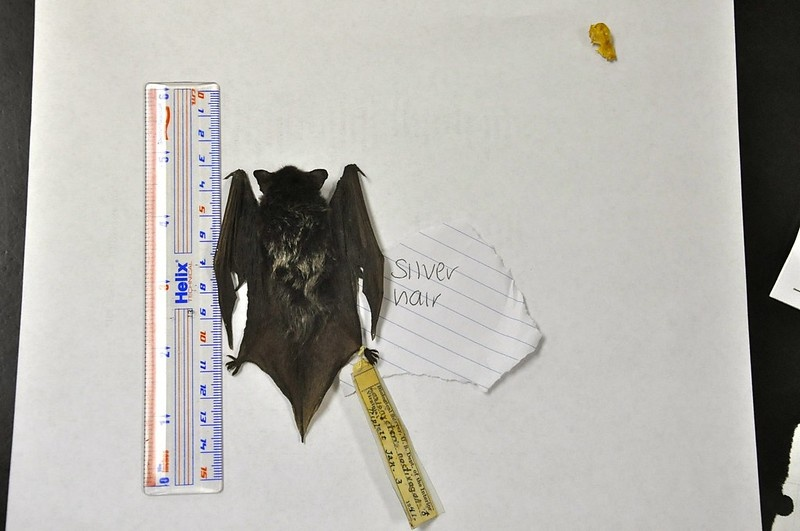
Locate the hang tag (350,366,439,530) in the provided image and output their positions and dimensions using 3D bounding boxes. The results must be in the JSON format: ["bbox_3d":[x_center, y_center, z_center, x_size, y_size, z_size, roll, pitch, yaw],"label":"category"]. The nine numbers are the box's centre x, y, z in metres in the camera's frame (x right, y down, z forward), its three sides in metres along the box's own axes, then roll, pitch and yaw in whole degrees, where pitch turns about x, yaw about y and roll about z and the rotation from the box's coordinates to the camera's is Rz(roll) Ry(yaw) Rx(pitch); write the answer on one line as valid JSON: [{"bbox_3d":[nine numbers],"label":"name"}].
[{"bbox_3d":[-0.019,0.489,3.195,0.147,0.057,0.617,-19,-88,-6],"label":"hang tag"}]

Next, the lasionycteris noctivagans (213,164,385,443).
[{"bbox_3d":[-0.268,0.100,3.480,0.530,0.668,0.591,0,-94,-1],"label":"lasionycteris noctivagans"}]
